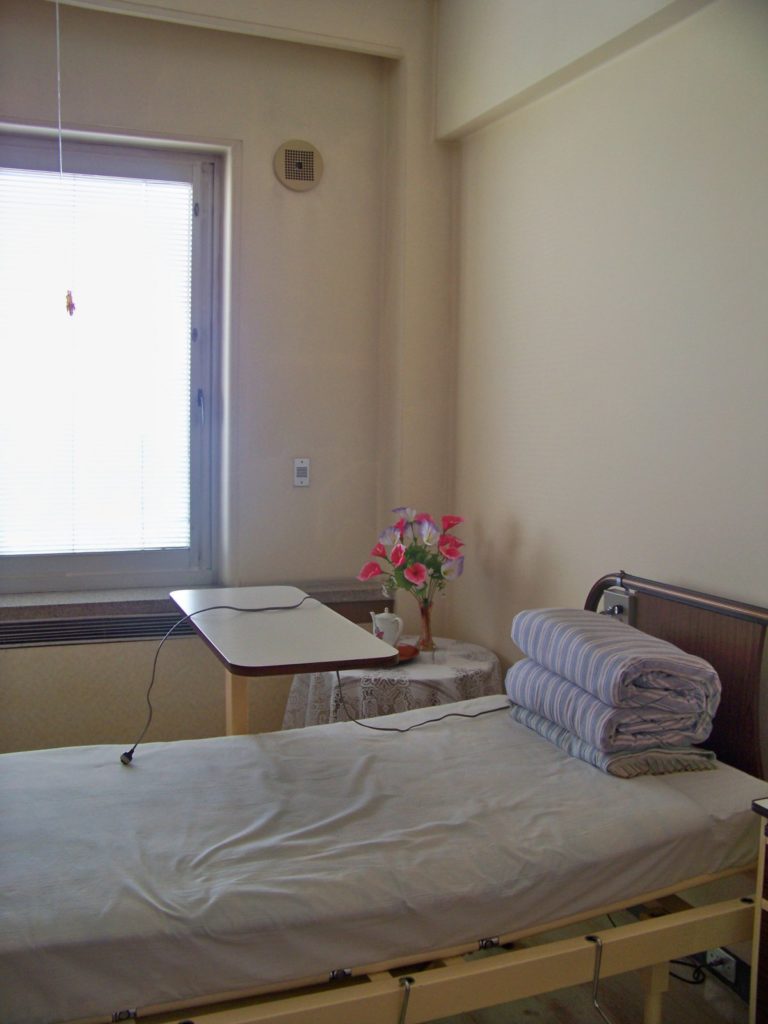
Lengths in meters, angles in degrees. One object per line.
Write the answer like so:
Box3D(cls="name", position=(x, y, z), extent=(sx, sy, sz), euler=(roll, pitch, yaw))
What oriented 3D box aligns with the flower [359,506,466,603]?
Box3D(cls="flower", position=(0.129, 0.129, 2.607), extent=(0.278, 0.247, 0.277), euler=(-7, 9, -2))
